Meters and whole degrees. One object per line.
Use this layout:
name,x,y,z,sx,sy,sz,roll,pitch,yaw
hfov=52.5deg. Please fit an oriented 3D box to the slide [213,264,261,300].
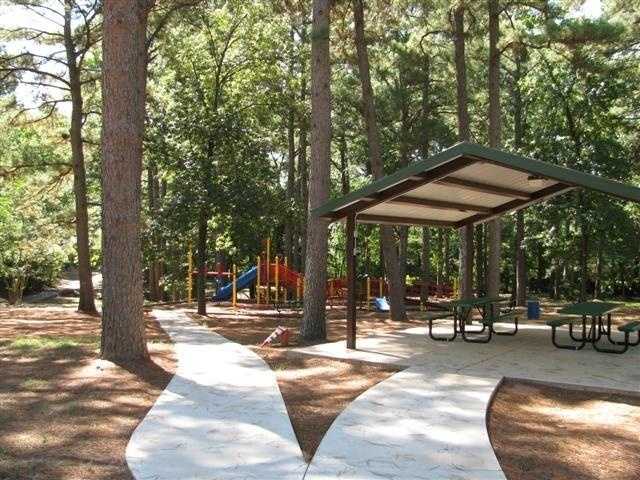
slide,-3.975,2.037,31.189,2.125,0.717,0.483,-40,28,-1
